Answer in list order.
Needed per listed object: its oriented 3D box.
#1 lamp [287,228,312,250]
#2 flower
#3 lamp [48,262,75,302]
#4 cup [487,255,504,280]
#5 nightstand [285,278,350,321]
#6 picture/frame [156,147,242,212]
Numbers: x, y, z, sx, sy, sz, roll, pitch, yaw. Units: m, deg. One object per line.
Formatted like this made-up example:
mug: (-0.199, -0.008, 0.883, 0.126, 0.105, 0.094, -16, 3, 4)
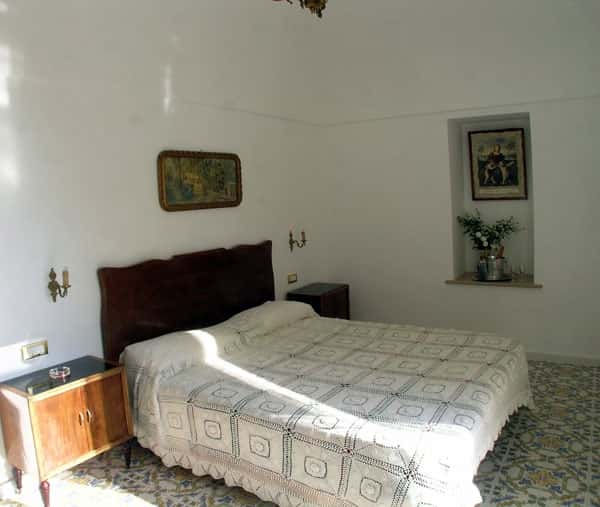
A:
lamp: (-0.036, -0.180, 6.129, 0.255, 0.234, 0.084, -10, 9, -44)
flower: (2.324, -0.242, 6.047, 0.516, 0.349, 0.366, -13, 3, -8)
lamp: (-1.843, 0.231, 3.828, 0.164, 0.267, 0.139, -8, 13, -24)
cup: (2.230, 0.164, 5.767, 0.272, 0.292, 0.183, -1, 2, -9)
nightstand: (0.213, 0.510, 6.037, 0.443, 0.634, 0.683, 8, 14, 33)
picture/frame: (-0.963, -0.712, 4.874, 0.054, 0.563, 0.972, 8, 12, 42)
